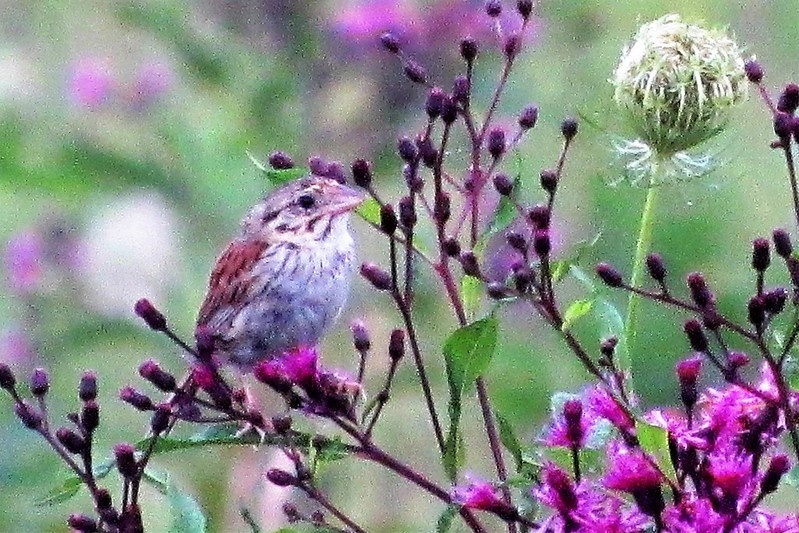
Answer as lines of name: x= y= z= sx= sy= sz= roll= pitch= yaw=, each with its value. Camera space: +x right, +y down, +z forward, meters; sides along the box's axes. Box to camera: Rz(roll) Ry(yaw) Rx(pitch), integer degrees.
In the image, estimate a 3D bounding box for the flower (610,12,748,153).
flower: x=0.314 y=-0.211 z=1.373 sx=0.128 sy=0.159 sz=0.165 roll=-3 pitch=-48 yaw=2
